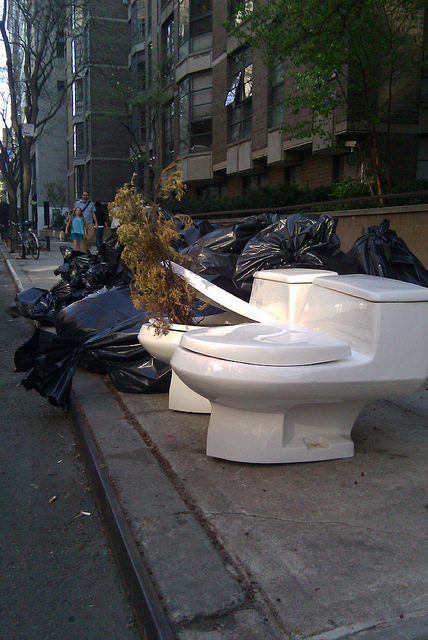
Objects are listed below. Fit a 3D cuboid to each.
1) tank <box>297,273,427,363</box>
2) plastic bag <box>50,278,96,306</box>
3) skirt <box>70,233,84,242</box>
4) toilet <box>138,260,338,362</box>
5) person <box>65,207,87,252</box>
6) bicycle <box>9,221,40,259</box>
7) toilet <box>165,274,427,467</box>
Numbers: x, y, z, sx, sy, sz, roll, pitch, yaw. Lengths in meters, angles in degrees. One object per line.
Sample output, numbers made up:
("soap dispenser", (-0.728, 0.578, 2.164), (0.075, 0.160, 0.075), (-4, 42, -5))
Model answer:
("tank", (0.705, -0.204, 2.744), (0.444, 0.374, 0.812), (-1, 7, -14))
("plastic bag", (-1.588, -0.301, 6.296), (0.416, 0.190, 0.501), (-6, 5, -38))
("skirt", (-3.498, -2.106, 14.521), (0.303, 0.207, 0.368), (-6, 11, -12))
("toilet", (0.118, -0.100, 3.586), (1.144, 0.619, 0.641), (-3, 6, -17))
("person", (-3.533, -2.263, 14.522), (0.554, 1.238, 0.401), (-3, 22, -19))
("bicycle", (-5.933, -2.513, 18.236), (1.011, 1.178, 2.064), (-8, 21, -30))
("toilet", (0.409, 0.211, 2.924), (1.252, 0.803, 0.855), (-2, 6, -15))
